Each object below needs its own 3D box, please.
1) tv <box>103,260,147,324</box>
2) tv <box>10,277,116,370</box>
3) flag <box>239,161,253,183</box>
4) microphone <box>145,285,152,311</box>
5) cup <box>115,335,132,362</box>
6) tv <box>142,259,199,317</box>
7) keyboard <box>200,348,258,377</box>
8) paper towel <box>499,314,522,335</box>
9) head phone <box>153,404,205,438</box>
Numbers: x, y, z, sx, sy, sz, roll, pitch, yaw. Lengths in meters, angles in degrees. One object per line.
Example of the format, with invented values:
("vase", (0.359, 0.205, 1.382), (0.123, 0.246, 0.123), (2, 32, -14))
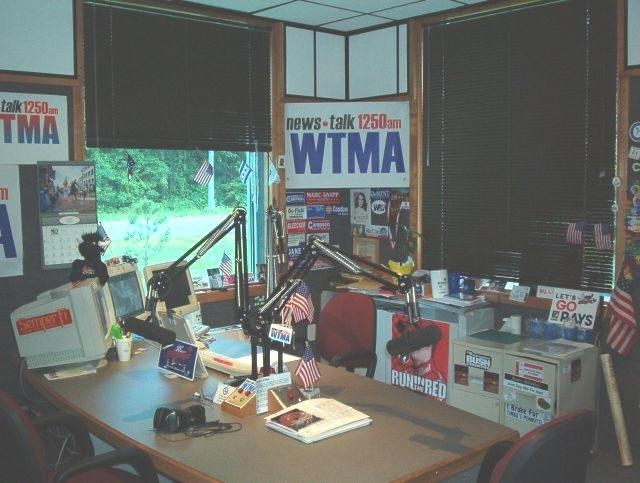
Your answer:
("tv", (-1.438, 0.377, 3.839), (0.210, 0.425, 0.405), (-10, -3, 14))
("tv", (-1.713, 0.538, 3.723), (0.561, 0.652, 0.588), (-1, 6, -1))
("flag", (-0.766, -0.720, 5.355), (0.160, 0.182, 0.030), (21, 0, -10))
("microphone", (-0.918, 0.305, 2.819), (0.041, 0.128, 0.084), (-2, 10, -12))
("cup", (-1.364, 0.742, 3.680), (0.143, 0.175, 0.151), (0, -2, 0))
("tv", (-1.223, 0.383, 4.261), (0.140, 0.466, 0.494), (-10, -3, 33))
("keyboard", (-0.611, 0.807, 3.467), (0.281, 0.071, 0.162), (9, 9, 43))
("paper towel", (1.704, 0.740, 4.656), (0.209, 0.225, 0.121), (-1, 1, 35))
("head phone", (-0.743, 0.935, 2.755), (0.160, 0.078, 0.163), (-2, 7, -6))
